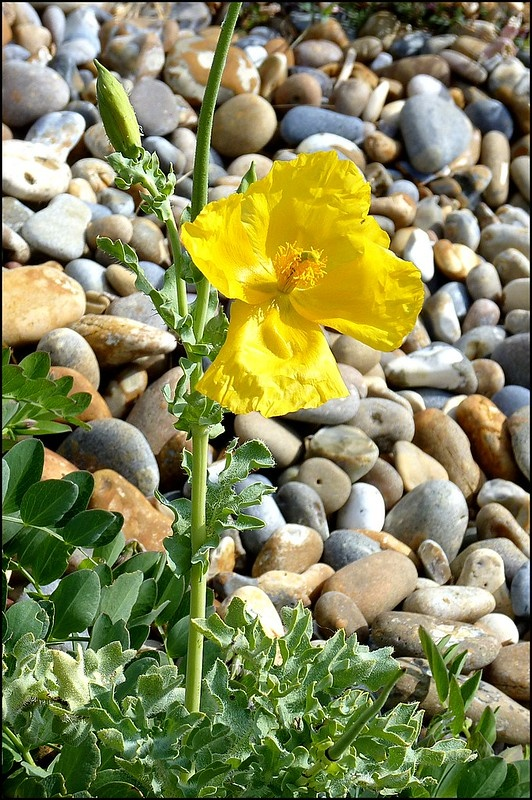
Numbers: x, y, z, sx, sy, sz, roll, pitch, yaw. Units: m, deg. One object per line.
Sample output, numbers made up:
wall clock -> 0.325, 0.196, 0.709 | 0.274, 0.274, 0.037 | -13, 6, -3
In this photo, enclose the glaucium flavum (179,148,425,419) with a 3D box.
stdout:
glaucium flavum -> 0.019, -0.089, 0.632 | 0.148, 0.154, 0.190 | 40, 44, 25
